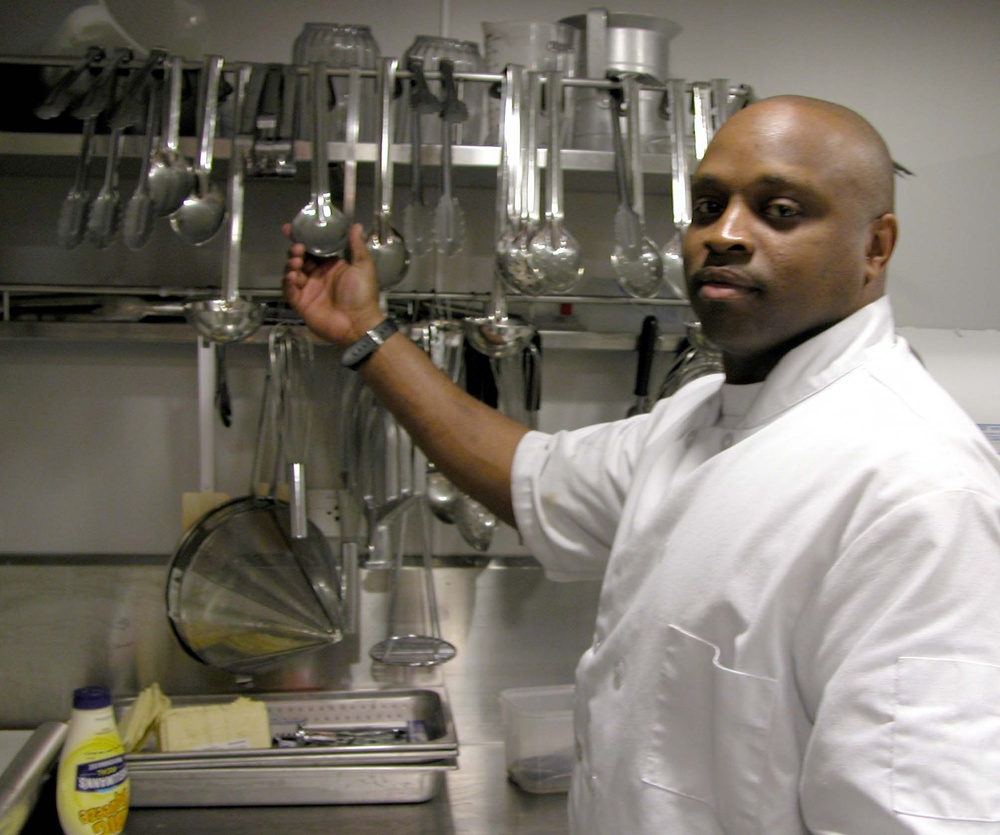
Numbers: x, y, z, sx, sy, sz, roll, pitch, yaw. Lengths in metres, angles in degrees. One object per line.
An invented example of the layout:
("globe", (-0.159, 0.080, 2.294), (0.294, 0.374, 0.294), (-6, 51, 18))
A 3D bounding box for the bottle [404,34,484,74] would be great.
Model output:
("bottle", (-0.080, -0.525, 1.535), (0.109, 0.078, 0.084), (1, 9, -1))

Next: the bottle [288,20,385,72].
("bottle", (-0.238, -0.544, 1.553), (0.105, 0.076, 0.123), (-8, 13, -42))

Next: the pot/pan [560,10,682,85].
("pot/pan", (0.181, -0.561, 1.613), (0.206, 0.093, 0.226), (1, -3, 4))
